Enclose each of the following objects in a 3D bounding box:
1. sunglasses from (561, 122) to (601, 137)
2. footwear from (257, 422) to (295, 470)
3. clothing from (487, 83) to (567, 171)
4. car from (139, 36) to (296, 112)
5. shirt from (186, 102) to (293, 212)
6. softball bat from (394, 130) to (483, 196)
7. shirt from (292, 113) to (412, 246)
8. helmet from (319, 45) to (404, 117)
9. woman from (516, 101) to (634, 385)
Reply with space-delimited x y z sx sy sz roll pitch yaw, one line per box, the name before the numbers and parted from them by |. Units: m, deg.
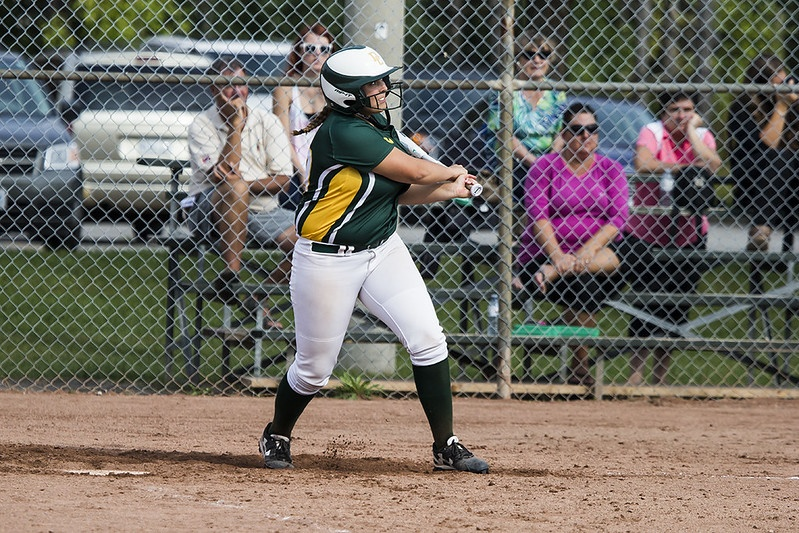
sunglasses | 1.580 -1.183 12.015 0.294 0.119 0.126 4 4 8
footwear | -0.947 1.373 10.423 0.161 0.200 0.419 8 30 -38
clothing | 1.201 -1.242 12.687 0.727 0.874 0.483 -3 -4 -7
car | -1.750 -2.153 15.205 2.068 0.877 1.171 1 -7 -3
shirt | -1.391 -0.926 12.150 0.829 1.020 0.757 3 17 -12
softball bat | 0.335 -0.823 11.183 0.939 0.165 0.219 43 39 14
shirt | -0.363 -0.699 10.460 0.850 1.131 0.932 0 8 -3
helmet | -0.268 -1.367 9.984 0.507 0.430 0.406 4 8 17
woman | 1.525 -0.444 12.068 0.945 1.941 0.420 3 4 6
